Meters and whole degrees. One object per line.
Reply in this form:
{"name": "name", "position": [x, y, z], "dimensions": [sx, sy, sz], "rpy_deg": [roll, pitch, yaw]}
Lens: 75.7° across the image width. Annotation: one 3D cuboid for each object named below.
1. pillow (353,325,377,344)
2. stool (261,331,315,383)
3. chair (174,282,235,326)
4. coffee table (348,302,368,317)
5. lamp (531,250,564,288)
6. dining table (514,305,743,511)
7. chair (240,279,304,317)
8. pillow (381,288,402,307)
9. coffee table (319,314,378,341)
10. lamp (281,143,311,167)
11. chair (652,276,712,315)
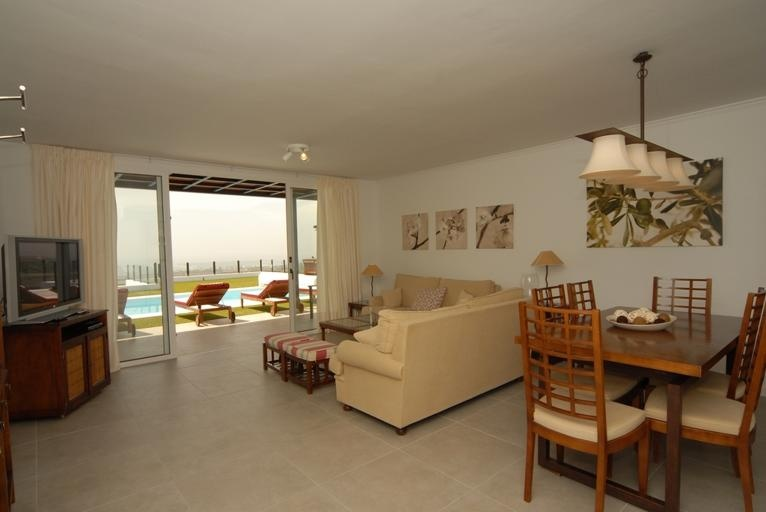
{"name": "pillow", "position": [-0.183, 0.846, 5.274], "dimensions": [0.199, 0.061, 0.202], "rpy_deg": [-15, 14, -26]}
{"name": "stool", "position": [-1.258, 1.267, 6.621], "dimensions": [0.560, 0.520, 0.819], "rpy_deg": [3, -6, -42]}
{"name": "chair", "position": [-3.696, 0.878, 10.040], "dimensions": [0.723, 0.695, 1.352], "rpy_deg": [0, 4, -39]}
{"name": "coffee table", "position": [-0.477, 0.911, 8.880], "dimensions": [0.261, 0.307, 0.333], "rpy_deg": [-3, 5, -40]}
{"name": "lamp", "position": [2.313, 0.154, 7.078], "dimensions": [0.469, 0.802, 0.539], "rpy_deg": [-2, 0, 17]}
{"name": "dining table", "position": [2.319, 0.961, 4.623], "dimensions": [1.494, 1.342, 2.789], "rpy_deg": [-1, 0, 43]}
{"name": "chair", "position": [-2.588, 0.830, 11.037], "dimensions": [0.883, 0.823, 1.609], "rpy_deg": [0, 3, -44]}
{"name": "pillow", "position": [0.145, 0.706, 8.490], "dimensions": [0.296, 0.287, 0.126], "rpy_deg": [-1, -35, 6]}
{"name": "coffee table", "position": [-0.482, 1.024, 7.458], "dimensions": [0.515, 0.258, 0.722], "rpy_deg": [-3, 4, -38]}
{"name": "lamp", "position": [-1.201, -1.420, 6.766], "dimensions": [0.351, 0.150, 0.447], "rpy_deg": [-1, 8, -17]}
{"name": "chair", "position": [3.423, 0.437, 5.618], "dimensions": [0.388, 0.691, 0.408], "rpy_deg": [-4, -8, 44]}
